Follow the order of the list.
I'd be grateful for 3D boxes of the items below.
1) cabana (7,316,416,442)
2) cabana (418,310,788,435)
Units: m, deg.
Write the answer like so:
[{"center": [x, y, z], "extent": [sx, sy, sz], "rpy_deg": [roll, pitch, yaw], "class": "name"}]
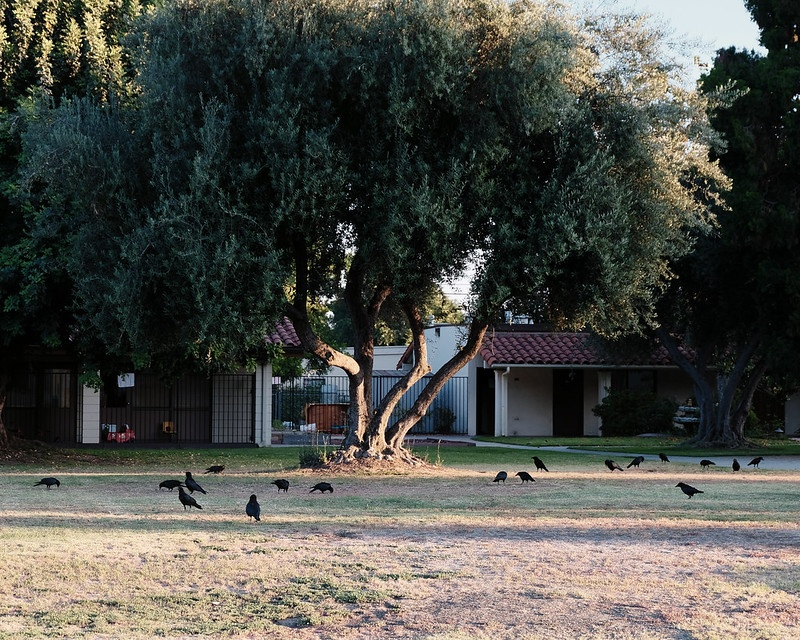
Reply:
[{"center": [-7.024, 1.721, 44.049], "extent": [7.747, 3.797, 2.632], "rpy_deg": [2, -5, -12], "class": "cabana"}, {"center": [5.154, 1.811, 52.247], "extent": [9.944, 4.468, 7.329], "rpy_deg": [-2, -6, 18], "class": "cabana"}]
